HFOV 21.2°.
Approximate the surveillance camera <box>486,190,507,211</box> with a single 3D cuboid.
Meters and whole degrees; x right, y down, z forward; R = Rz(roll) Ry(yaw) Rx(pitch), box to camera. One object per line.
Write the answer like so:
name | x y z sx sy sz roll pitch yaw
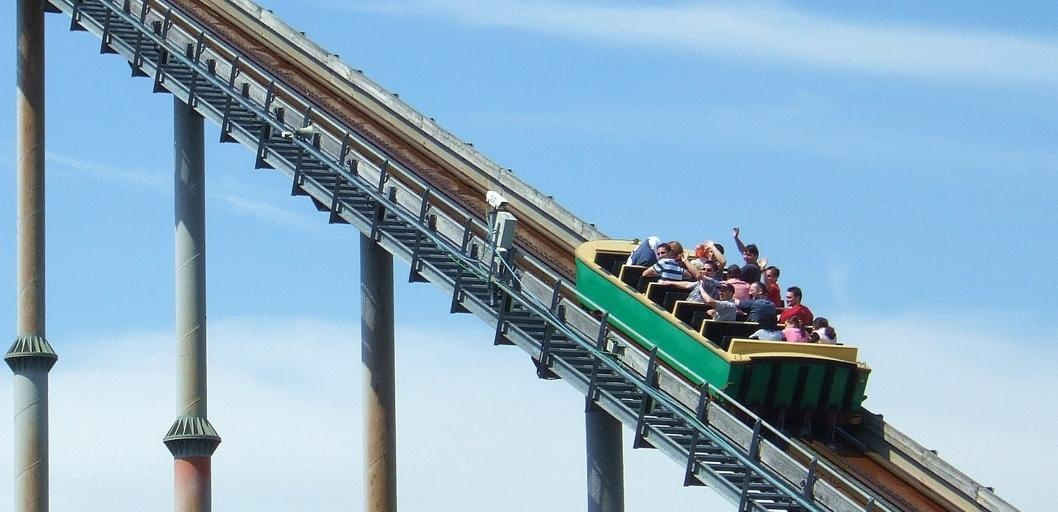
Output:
surveillance camera | -1.184 -1.705 94.663 0.576 0.773 0.209 6 -72 -30
